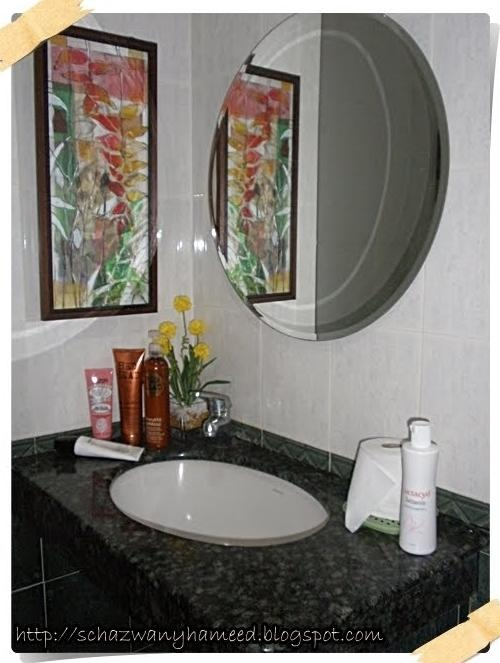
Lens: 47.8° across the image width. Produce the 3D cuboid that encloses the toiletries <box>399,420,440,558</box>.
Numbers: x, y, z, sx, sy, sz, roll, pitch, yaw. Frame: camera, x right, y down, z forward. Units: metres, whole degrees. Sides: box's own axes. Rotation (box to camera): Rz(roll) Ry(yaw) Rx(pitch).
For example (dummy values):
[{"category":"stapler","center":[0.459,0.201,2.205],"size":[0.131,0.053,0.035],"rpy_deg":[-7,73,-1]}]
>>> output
[{"category":"toiletries","center":[0.242,0.210,0.777],"size":[0.077,0.180,0.050],"rpy_deg":[-5,8,-33]}]

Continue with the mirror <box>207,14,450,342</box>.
[{"category":"mirror","center":[0.099,-0.279,1.035],"size":[0.033,0.592,0.599],"rpy_deg":[-5,8,-36]}]

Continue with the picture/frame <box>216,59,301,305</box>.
[{"category":"picture/frame","center":[0.019,-0.278,1.161],"size":[0.158,0.462,0.010],"rpy_deg":[13,43,14]}]

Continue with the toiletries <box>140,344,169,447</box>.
[{"category":"toiletries","center":[-0.208,0.150,1.226],"size":[0.064,0.212,0.056],"rpy_deg":[-1,6,0]}]

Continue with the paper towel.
[{"category":"paper towel","center":[0.178,0.228,0.874],"size":[0.089,0.138,0.100],"rpy_deg":[0,10,1]}]

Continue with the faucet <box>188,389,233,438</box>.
[{"category":"faucet","center":[-0.084,0.189,1.309],"size":[0.069,0.093,0.087],"rpy_deg":[-5,8,-30]}]

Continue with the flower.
[{"category":"flower","center":[-0.150,0.056,1.329],"size":[0.132,0.267,0.126],"rpy_deg":[-6,13,-41]}]
